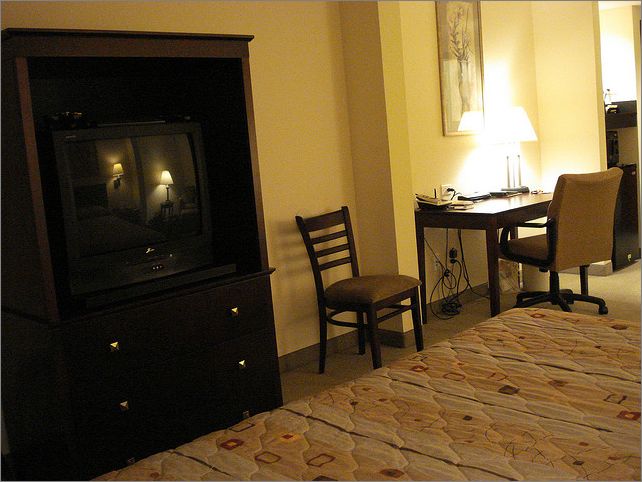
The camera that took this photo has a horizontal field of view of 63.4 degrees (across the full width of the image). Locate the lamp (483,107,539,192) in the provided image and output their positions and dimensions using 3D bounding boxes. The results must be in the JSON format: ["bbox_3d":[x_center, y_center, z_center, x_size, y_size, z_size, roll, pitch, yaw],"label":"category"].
[{"bbox_3d":[1.761,-0.808,4.711,0.601,0.668,0.492,0,2,12],"label":"lamp"}]

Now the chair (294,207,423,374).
[{"bbox_3d":[0.249,0.294,3.397,0.887,0.808,0.660,8,15,11],"label":"chair"}]

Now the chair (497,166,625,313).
[{"bbox_3d":[1.802,0.034,3.909,0.867,1.123,0.501,-4,17,15],"label":"chair"}]
